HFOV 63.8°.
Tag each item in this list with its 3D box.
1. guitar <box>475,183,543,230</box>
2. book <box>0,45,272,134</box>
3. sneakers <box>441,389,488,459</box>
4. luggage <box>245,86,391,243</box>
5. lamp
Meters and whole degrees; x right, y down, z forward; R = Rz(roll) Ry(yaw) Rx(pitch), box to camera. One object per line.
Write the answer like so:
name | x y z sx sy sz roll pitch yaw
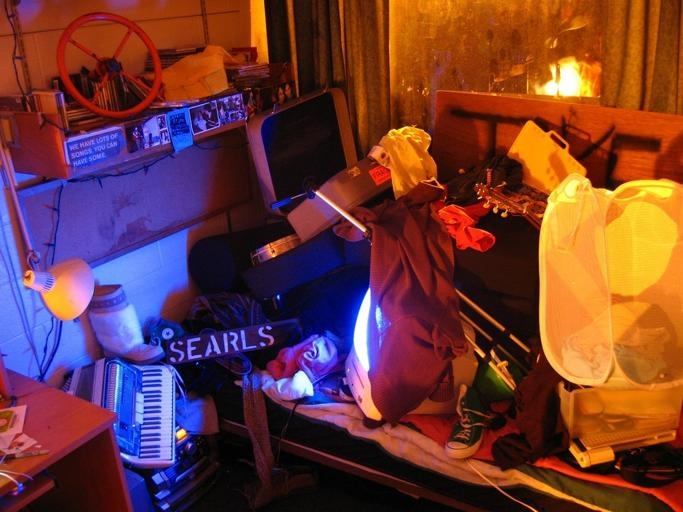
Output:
guitar | 0.649 -0.200 2.063 0.266 0.103 0.368 1 18 11
book | -0.831 -0.765 2.449 0.405 0.324 1.285 10 22 35
sneakers | 0.535 0.657 2.265 0.111 0.183 0.313 9 34 28
luggage | -0.101 -0.447 2.600 0.549 0.532 0.471 -36 38 -22
lamp | -1.043 0.128 2.022 0.219 0.207 0.110 -14 20 -30
